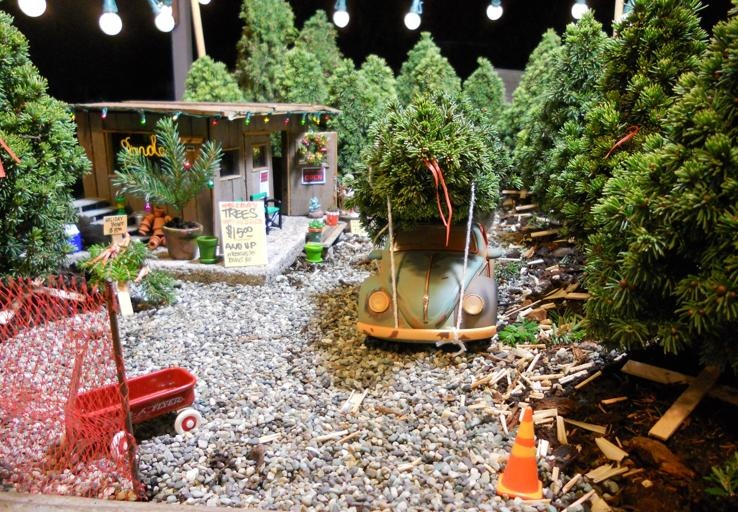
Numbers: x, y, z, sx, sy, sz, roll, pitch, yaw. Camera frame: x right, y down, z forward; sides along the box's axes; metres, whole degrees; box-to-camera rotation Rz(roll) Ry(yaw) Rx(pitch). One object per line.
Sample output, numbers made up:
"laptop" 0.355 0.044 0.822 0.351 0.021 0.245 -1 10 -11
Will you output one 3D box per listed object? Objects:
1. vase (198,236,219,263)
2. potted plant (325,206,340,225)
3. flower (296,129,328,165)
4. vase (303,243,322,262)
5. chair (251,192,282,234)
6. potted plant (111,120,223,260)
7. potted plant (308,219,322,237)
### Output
"vase" -2.339 -0.144 8.469 0.322 0.402 0.336 -7 20 -18
"potted plant" -0.660 -0.731 10.264 0.254 0.284 0.272 0 21 -1
"flower" -1.074 -2.051 10.964 0.575 0.623 0.304 0 16 -5
"vase" -0.863 -0.066 9.050 0.272 0.302 0.342 0 17 -6
"chair" -1.773 -0.852 10.136 0.487 0.620 1.292 1 17 -3
"potted plant" -2.925 -1.068 8.617 1.339 2.021 1.238 -3 17 -16
"potted plant" -0.880 -0.459 9.292 0.244 0.277 0.257 2 11 18
